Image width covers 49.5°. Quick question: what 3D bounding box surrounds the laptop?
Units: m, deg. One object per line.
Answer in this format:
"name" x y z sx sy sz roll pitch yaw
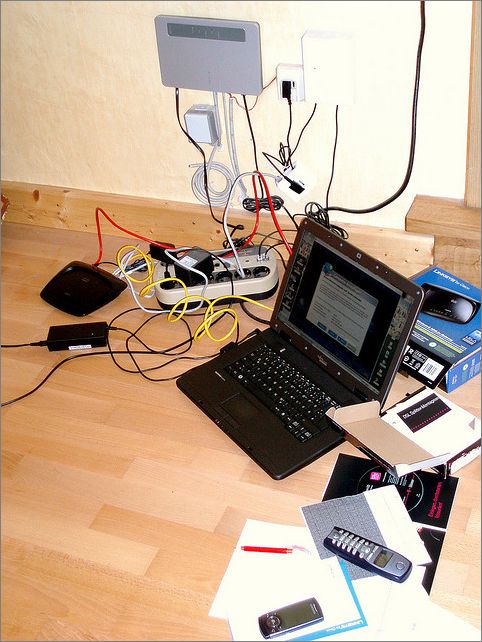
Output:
"laptop" 0.074 0.026 0.819 0.272 0.259 0.294 -20 41 -28

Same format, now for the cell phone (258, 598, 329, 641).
"cell phone" 0.054 0.329 0.577 0.072 0.012 0.031 -9 36 -16

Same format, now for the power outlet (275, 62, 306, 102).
"power outlet" 0.094 -0.449 0.975 0.061 0.064 0.036 13 38 29

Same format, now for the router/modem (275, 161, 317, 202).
"router/modem" 0.107 -0.280 1.036 0.079 0.079 0.019 46 14 -7

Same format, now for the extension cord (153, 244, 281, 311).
"extension cord" -0.045 -0.086 1.112 0.252 0.084 0.127 -1 46 1

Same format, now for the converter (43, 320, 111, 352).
"converter" -0.327 0.031 1.050 0.118 0.037 0.058 0 35 -4
